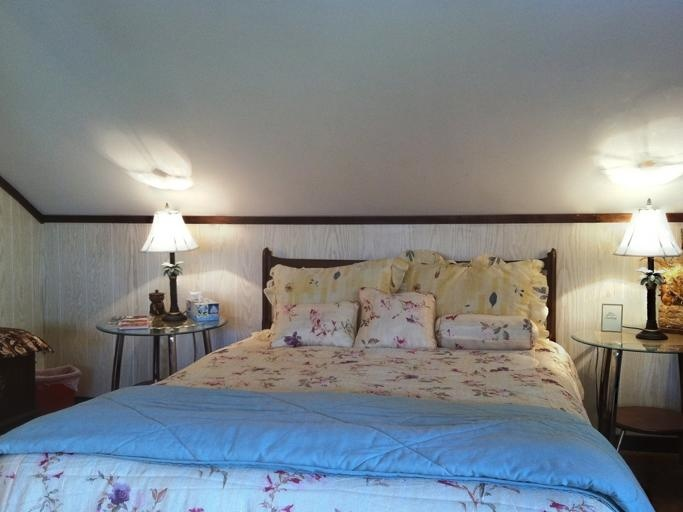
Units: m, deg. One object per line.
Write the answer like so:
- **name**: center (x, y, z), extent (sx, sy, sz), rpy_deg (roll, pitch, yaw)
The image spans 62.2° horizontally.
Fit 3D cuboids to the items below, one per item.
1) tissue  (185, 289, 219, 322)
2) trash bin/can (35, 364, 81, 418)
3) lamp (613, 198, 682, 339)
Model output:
- **tissue **: center (-0.931, 0.269, 3.754), extent (0.182, 0.192, 0.333), rpy_deg (-3, 4, -27)
- **trash bin/can**: center (-1.942, 0.903, 3.881), extent (0.264, 0.199, 0.308), rpy_deg (0, -3, -23)
- **lamp**: center (1.779, 0.062, 3.292), extent (0.322, 0.786, 0.396), rpy_deg (3, 7, 26)
